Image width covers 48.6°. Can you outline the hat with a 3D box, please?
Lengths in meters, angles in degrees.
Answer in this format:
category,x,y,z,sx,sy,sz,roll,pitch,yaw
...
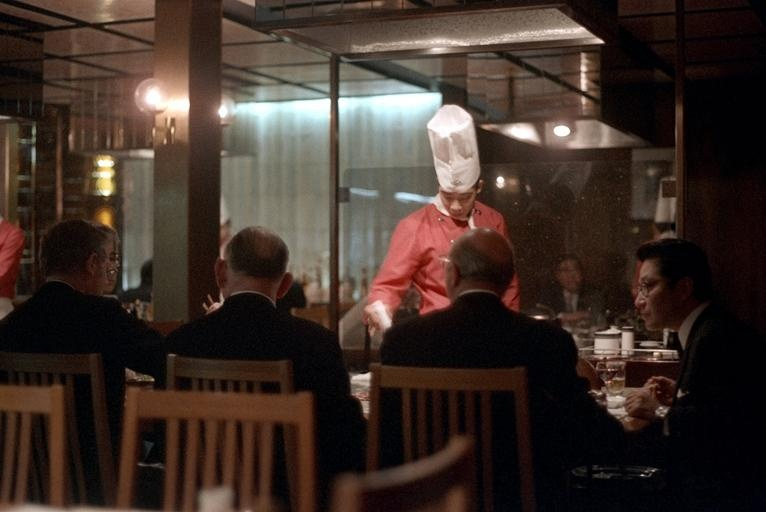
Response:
category,x,y,z,sx,sy,sz,roll,pitch,yaw
hat,0.357,-0.553,4.283,0.249,0.478,0.186,-1,-4,4

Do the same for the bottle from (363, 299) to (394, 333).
category,x,y,z,sx,sy,sz,roll,pitch,yaw
bottle,-0.023,0.289,3.976,0.061,0.141,0.142,-13,36,-7

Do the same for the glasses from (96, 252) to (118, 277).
category,x,y,z,sx,sy,sz,roll,pitch,yaw
glasses,-1.110,0.029,3.418,0.067,0.078,0.059,1,7,-14

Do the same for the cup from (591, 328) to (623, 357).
category,x,y,z,sx,sy,sz,roll,pitch,yaw
cup,1.130,0.442,4.265,0.118,0.122,0.139,4,-2,-34

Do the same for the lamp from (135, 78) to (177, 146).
category,x,y,z,sx,sy,sz,roll,pitch,yaw
lamp,-1.168,-0.727,4.276,0.151,0.335,0.224,2,-4,-40

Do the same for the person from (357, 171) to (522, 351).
category,x,y,z,sx,sy,sz,roll,pitch,yaw
person,0.270,0.011,3.879,1.059,0.899,0.445,0,2,-25
